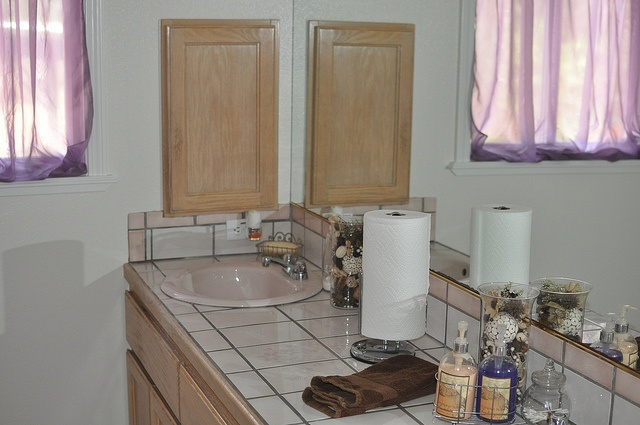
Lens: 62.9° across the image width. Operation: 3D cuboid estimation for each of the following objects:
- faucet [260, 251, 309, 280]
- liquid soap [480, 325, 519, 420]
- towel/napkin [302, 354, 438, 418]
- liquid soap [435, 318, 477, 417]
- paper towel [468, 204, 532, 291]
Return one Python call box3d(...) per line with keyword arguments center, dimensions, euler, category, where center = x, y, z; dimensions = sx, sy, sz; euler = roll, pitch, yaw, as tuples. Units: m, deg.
box3d(center=(-0.144, 0.214, 2.234), dimensions=(0.081, 0.104, 0.272), euler=(-5, 10, -34), category="faucet")
box3d(center=(0.422, 0.381, 1.240), dimensions=(0.085, 0.245, 0.053), euler=(1, 9, 16), category="liquid soap")
box3d(center=(0.151, 0.454, 1.372), dimensions=(0.238, 0.057, 0.145), euler=(-9, 12, -35), category="towel/napkin")
box3d(center=(0.332, 0.422, 1.270), dimensions=(0.099, 0.169, 0.065), euler=(1, 9, 16), category="liquid soap")
box3d(center=(0.524, 0.100, 1.476), dimensions=(0.153, 0.248, 0.147), euler=(-8, 18, -6), category="paper towel")
